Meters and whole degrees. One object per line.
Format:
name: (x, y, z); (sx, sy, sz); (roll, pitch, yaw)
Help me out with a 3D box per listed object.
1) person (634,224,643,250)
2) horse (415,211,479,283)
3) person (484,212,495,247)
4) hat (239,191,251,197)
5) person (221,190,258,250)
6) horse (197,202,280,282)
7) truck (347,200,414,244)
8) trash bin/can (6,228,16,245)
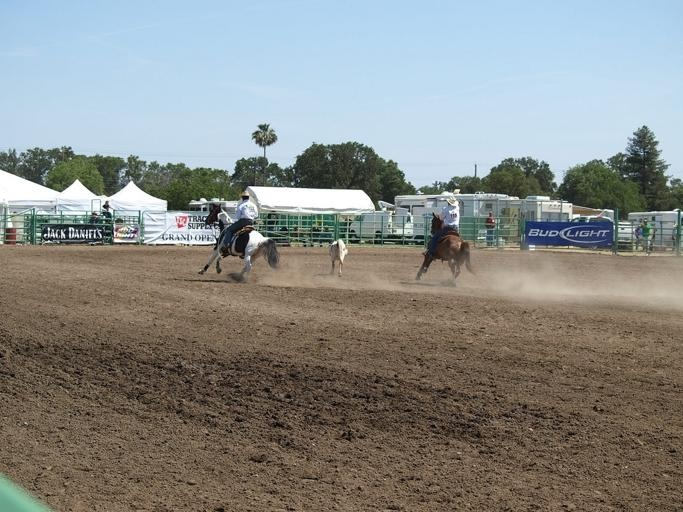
person: (14.156, -0.825, 38.886); (0.357, 1.433, 1.750); (6, 15, 19)
horse: (2.658, -0.122, 20.761); (1.191, 1.848, 1.788); (3, 14, 5)
person: (7.510, -1.214, 41.168); (0.527, 1.605, 1.073); (4, 14, 11)
hat: (-2.323, -1.505, 19.728); (0.283, 0.144, 0.294); (2, 3, 34)
person: (-2.520, -0.783, 19.929); (0.872, 1.597, 0.760); (-3, 15, -19)
horse: (-2.612, -0.271, 20.083); (2.512, 1.814, 0.612); (10, -5, 32)
truck: (2.074, -1.656, 43.532); (3.837, 2.514, 1.578); (1, 0, -1)
trash bin/can: (-15.042, -0.975, 36.887); (0.473, 0.751, 0.753); (-4, 16, -22)
